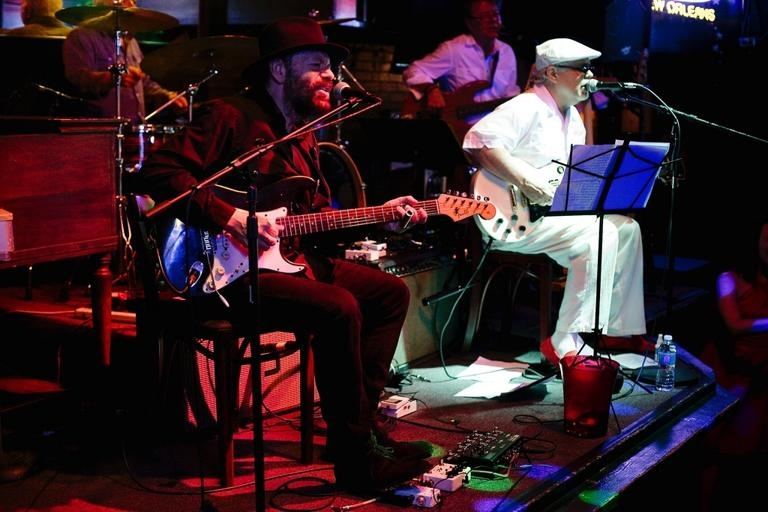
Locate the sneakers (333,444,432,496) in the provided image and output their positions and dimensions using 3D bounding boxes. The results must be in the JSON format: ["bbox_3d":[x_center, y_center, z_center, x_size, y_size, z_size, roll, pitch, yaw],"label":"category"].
[{"bbox_3d":[-0.001,1.253,4.241,0.547,0.194,0.296,-12,17,-22],"label":"sneakers"}]

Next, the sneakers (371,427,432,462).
[{"bbox_3d":[0.121,1.193,4.389,0.288,0.095,0.271,4,2,-24],"label":"sneakers"}]

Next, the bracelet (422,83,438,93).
[{"bbox_3d":[0.488,-1.752,7.317,0.104,0.122,0.126,11,1,-12],"label":"bracelet"}]

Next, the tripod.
[{"bbox_3d":[1.481,0.342,5.742,1.138,1.475,1.315,-4,-6,33],"label":"tripod"}]

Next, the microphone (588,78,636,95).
[{"bbox_3d":[1.666,-1.257,5.144,0.288,0.111,0.472,5,8,0],"label":"microphone"}]

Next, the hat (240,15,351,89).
[{"bbox_3d":[-0.566,-1.308,4.481,0.500,0.192,0.565,-4,6,41],"label":"hat"}]

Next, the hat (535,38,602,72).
[{"bbox_3d":[1.413,-1.566,5.401,0.396,0.134,0.265,-8,19,8],"label":"hat"}]
